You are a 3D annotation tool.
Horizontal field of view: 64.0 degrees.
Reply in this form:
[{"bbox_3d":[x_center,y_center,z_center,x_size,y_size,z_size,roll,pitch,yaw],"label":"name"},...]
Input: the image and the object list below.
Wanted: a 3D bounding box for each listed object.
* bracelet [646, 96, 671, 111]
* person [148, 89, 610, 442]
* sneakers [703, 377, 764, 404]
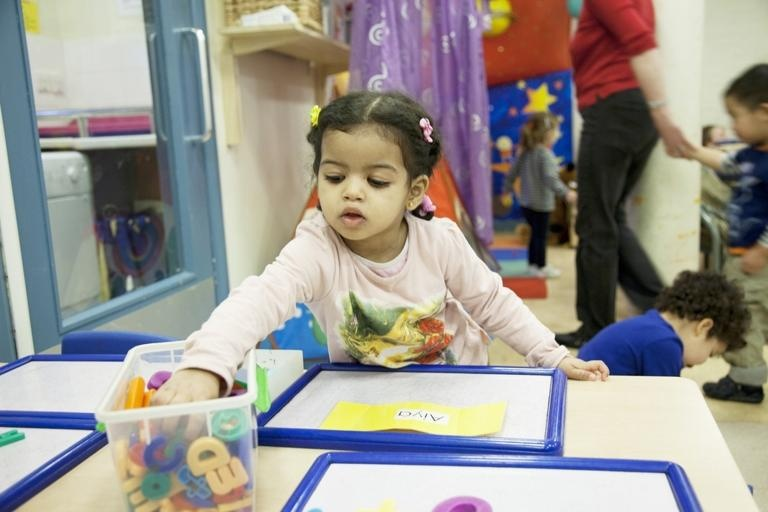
[{"bbox_3d":[0.961,-0.537,2.143,0.101,0.059,0.036,6,15,34],"label":"bracelet"},{"bbox_3d":[-0.015,-0.031,1.354,0.618,0.910,0.822,9,17,23],"label":"person"},{"bbox_3d":[1.195,0.465,2.097,0.126,0.041,0.103,0,3,10],"label":"sneakers"}]
